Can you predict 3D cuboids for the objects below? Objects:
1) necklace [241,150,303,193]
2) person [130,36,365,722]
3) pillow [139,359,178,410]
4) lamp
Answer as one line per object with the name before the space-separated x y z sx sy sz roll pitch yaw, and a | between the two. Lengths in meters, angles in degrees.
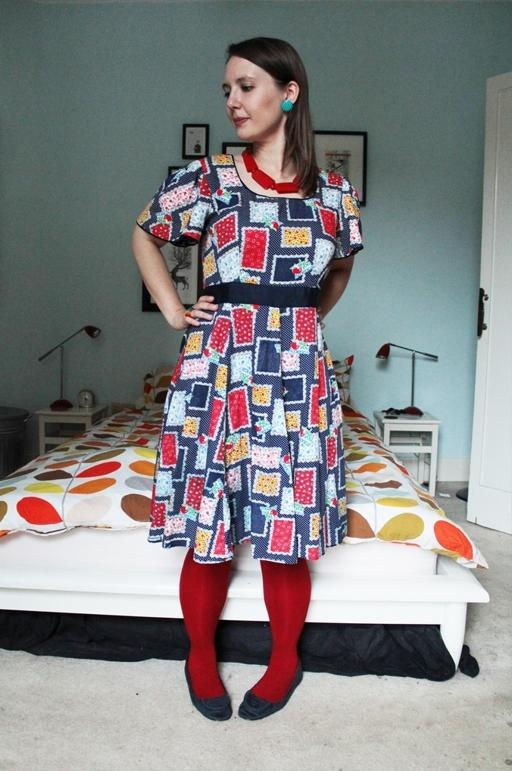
necklace | 0.027 -0.431 1.365 0.087 0.094 0.026 -18 -26 -44
person | -0.024 0.001 1.437 0.499 1.399 0.307 1 5 0
pillow | -0.505 0.009 3.390 0.082 0.256 0.247 18 5 -35
lamp | -1.002 -0.105 3.614 0.340 0.436 0.399 -1 5 -18
